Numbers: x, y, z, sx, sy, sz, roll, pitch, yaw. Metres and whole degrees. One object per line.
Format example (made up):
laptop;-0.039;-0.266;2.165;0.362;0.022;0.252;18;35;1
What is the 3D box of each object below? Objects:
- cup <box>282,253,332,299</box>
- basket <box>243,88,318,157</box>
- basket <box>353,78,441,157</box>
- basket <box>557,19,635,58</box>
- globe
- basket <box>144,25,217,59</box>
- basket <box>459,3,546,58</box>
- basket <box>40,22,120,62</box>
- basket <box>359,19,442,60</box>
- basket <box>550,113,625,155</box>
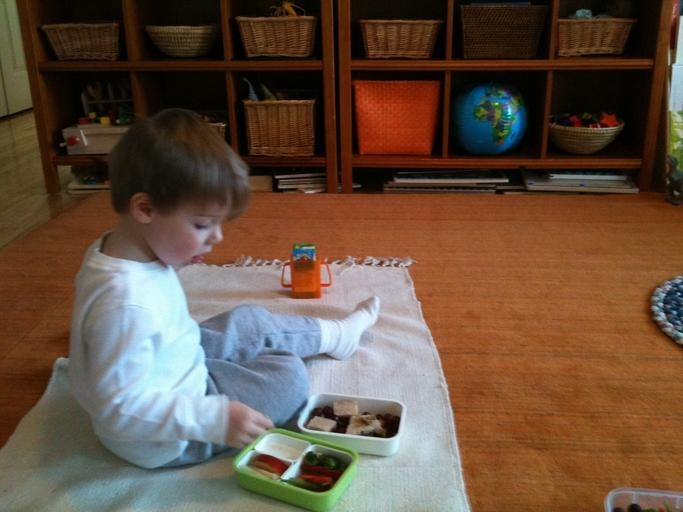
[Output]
cup;-0.110;0.070;1.556;0.172;0.110;0.091;-2;10;4
basket;-0.247;-0.687;2.716;0.539;0.286;0.506;-3;14;-11
basket;0.285;-0.746;2.690;0.429;0.288;0.403;0;24;1
basket;1.221;-1.065;2.423;0.223;0.122;0.273;3;30;9
globe;0.747;-0.678;2.541;0.372;0.308;0.354;1;5;10
basket;-0.816;-1.115;2.587;0.346;0.158;0.166;-4;23;-11
basket;0.770;-1.083;2.399;0.329;0.187;0.308;4;33;8
basket;-1.323;-1.098;2.547;0.377;0.183;0.081;5;24;9
basket;0.285;-1.056;2.423;0.300;0.124;0.206;0;30;2
basket;1.283;-0.582;2.588;0.266;0.120;0.260;2;8;-17
